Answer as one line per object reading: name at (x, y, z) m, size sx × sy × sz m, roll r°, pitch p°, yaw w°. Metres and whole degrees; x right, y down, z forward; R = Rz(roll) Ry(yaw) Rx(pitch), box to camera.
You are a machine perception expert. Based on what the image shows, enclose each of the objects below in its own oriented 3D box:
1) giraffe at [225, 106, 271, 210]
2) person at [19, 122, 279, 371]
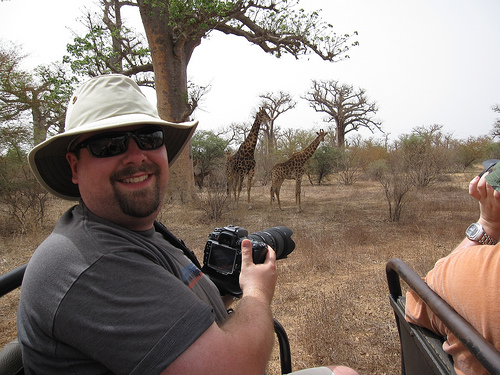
giraffe at (-0.135, -0.788, 11.235) m, size 0.705 × 3.084 × 2.128 m, roll -1°, pitch 2°, yaw -39°
person at (-0.392, 0.228, 1.480) m, size 0.988 × 1.007 × 0.594 m, roll 2°, pitch 6°, yaw 10°
